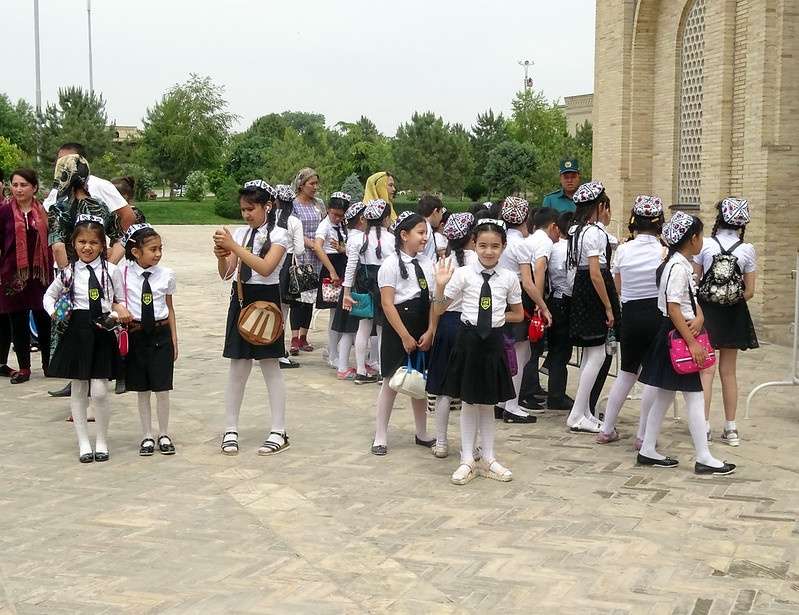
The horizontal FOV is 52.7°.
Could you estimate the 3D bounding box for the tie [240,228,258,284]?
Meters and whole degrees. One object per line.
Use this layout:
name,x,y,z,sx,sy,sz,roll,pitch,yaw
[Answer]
tie,-1.232,-0.428,6.588,0.107,0.427,0.158,3,11,18

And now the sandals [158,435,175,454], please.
sandals,-1.976,1.144,6.818,0.143,0.136,0.250,-3,10,-18

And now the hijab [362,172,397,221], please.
hijab,-0.268,-1.369,9.966,0.591,0.619,0.608,-4,14,-9

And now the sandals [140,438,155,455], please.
sandals,-2.119,1.158,6.740,0.118,0.128,0.149,-3,10,-15

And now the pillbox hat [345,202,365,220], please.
pillbox hat,-0.540,-1.134,9.474,0.256,0.083,0.181,-33,21,25

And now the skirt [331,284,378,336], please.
skirt,-0.492,0.033,9.105,0.277,0.437,0.477,-21,34,-32

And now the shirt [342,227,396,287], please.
shirt,-0.308,-0.547,8.538,0.675,0.660,0.250,9,17,15

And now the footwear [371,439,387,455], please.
footwear,-0.165,1.190,6.826,0.142,0.097,0.129,0,10,-4

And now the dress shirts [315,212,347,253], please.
dress shirts,-0.836,-0.919,9.986,0.554,0.387,0.197,-8,15,-44

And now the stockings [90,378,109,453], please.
stockings,-2.474,0.912,6.659,0.178,0.681,0.297,-1,-2,-28

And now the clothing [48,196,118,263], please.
clothing,-2.874,-0.724,7.276,0.626,0.457,0.205,-15,12,5

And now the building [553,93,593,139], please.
building,13.792,-14.662,61.614,2.000,2.583,2.729,13,8,2

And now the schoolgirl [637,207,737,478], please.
schoolgirl,2.288,0.292,6.352,0.691,2.042,0.516,9,13,40

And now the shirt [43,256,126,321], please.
shirt,-2.571,-0.165,6.617,0.596,0.423,0.290,-3,25,-35

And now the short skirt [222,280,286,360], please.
short skirt,-1.192,0.171,6.727,0.457,0.211,0.550,15,29,-9

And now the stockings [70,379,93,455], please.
stockings,-2.649,0.888,6.717,0.145,0.663,0.542,-4,11,-22

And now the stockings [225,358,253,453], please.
stockings,-1.403,0.789,6.889,0.266,0.830,0.468,-2,10,-12

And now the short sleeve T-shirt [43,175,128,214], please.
short sleeve T-shirt,-3.025,-1.091,7.794,0.752,0.347,0.219,-2,17,-6

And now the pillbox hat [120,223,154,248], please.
pillbox hat,-2.238,-0.612,6.846,0.254,0.097,0.223,-35,-9,29

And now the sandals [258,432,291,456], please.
sandals,-1.061,1.153,6.853,0.130,0.109,0.277,-3,-4,22

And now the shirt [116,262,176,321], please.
shirt,-2.109,-0.114,6.711,0.485,0.457,0.238,-6,11,-22
